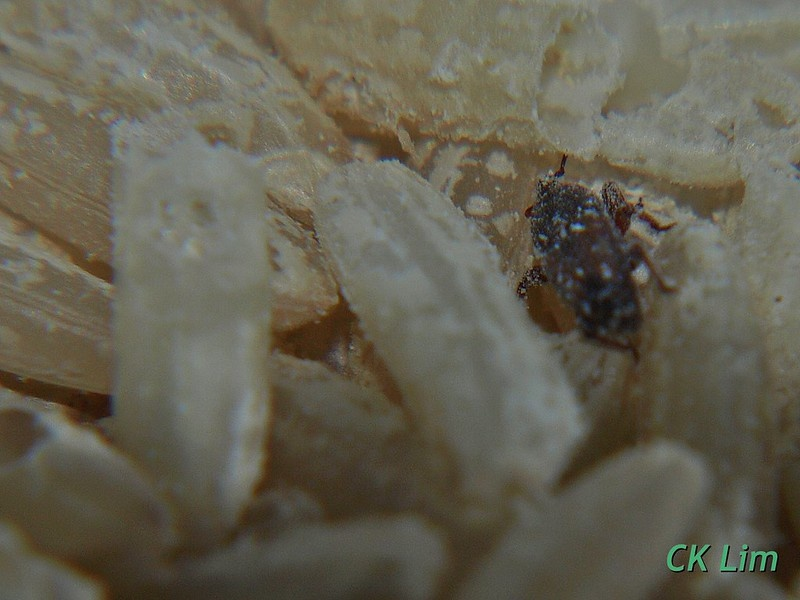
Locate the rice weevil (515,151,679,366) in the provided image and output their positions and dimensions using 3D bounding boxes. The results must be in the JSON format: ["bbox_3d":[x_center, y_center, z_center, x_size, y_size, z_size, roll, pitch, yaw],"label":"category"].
[{"bbox_3d":[0.242,-0.055,1.290,0.188,0.097,0.219,12,42,4],"label":"rice weevil"}]
